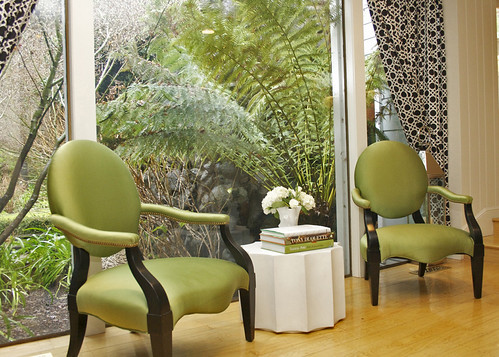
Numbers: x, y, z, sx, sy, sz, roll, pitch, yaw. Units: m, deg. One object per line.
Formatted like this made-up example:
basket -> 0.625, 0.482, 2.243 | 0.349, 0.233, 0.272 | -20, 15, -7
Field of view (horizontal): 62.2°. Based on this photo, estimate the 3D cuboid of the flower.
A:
flower -> 0.247, 0.150, 2.844 | 0.234, 0.175, 0.271 | -3, -5, 18

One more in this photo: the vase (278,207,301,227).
vase -> 0.269, 0.261, 2.863 | 0.150, 0.142, 0.140 | 1, -4, -44

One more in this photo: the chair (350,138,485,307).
chair -> 1.238, 0.296, 3.267 | 0.887, 1.168, 0.741 | -3, 5, -6

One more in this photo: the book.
book -> 0.327, 0.395, 2.745 | 0.306, 0.100, 0.221 | -2, 1, -31
